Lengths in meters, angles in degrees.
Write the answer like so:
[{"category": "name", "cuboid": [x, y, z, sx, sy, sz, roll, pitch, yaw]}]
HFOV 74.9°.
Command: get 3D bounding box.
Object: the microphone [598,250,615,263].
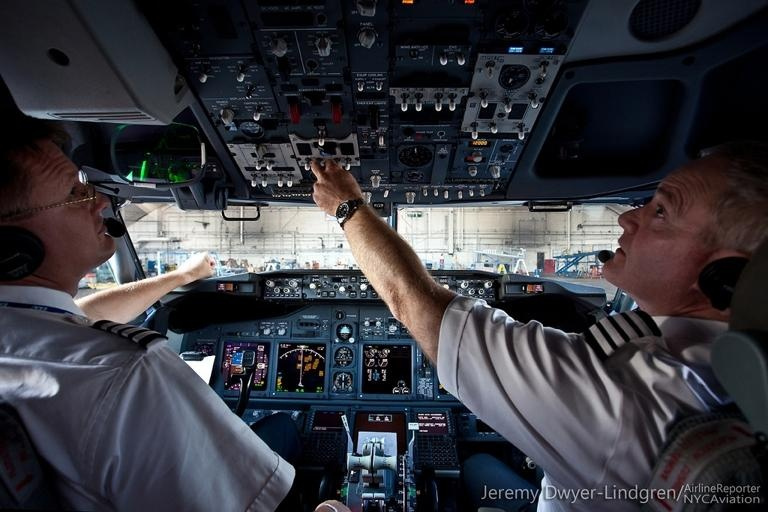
[{"category": "microphone", "cuboid": [1.113, 0.000, 2.507, 0.037, 0.050, 0.071, 3, 4, 6]}]
